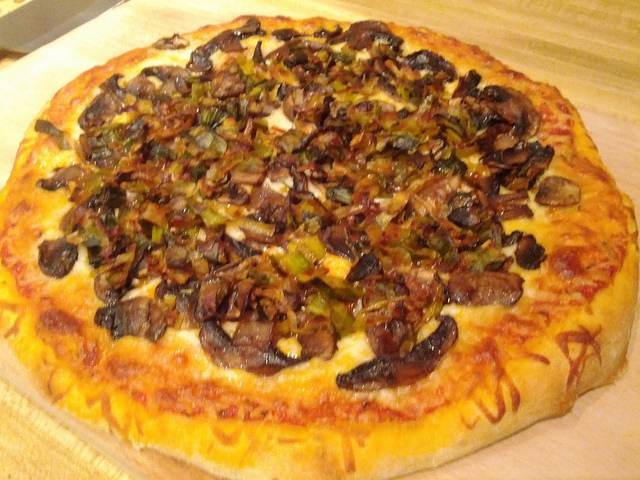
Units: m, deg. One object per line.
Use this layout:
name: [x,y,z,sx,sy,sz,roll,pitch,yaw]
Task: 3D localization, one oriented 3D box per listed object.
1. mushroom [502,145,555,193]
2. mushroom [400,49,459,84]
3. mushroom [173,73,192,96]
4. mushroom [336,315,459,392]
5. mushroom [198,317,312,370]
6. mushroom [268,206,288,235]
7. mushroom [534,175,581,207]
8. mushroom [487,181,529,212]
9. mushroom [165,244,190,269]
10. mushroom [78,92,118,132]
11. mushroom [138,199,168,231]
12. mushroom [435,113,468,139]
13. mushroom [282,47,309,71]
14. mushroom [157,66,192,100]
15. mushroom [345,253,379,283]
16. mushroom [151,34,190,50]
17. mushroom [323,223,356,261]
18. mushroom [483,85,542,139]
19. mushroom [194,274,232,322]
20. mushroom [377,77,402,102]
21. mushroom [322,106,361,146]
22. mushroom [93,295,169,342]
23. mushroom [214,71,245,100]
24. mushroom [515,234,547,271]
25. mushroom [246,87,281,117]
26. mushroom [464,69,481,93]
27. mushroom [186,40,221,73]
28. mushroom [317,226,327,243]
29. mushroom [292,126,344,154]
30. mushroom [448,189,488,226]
mushroom: [0.967,-0.342,3.002,0.232,0.063,0.157,-46,48,-7]
mushroom: [0.575,-0.901,3.454,0.273,0.071,0.165,41,66,16]
mushroom: [-0.707,-0.793,3.358,0.083,0.030,0.126,-28,67,-19]
mushroom: [0.315,0.446,2.579,0.435,0.098,0.230,-31,40,-11]
mushroom: [-0.298,0.419,2.673,0.307,0.217,0.074,25,77,-6]
mushroom: [-0.185,-0.087,2.871,0.075,0.028,0.116,30,79,22]
mushroom: [1.078,-0.223,2.936,0.161,0.039,0.140,10,54,18]
mushroom: [0.837,-0.199,2.890,0.139,0.039,0.127,-9,57,4]
mushroom: [-0.607,0.072,2.828,0.111,0.031,0.099,23,76,17]
mushroom: [-1.108,-0.662,3.332,0.156,0.046,0.222,32,72,18]
mushroom: [-0.738,-0.104,2.872,0.139,0.037,0.126,25,87,21]
mushroom: [0.623,-0.542,3.085,0.131,0.049,0.138,49,37,14]
mushroom: [-0.122,-0.954,3.413,0.122,0.038,0.108,2,61,9]
mushroom: [-0.764,-0.842,3.417,0.055,0.195,0.193,38,93,-2]
mushroom: [0.177,0.115,2.751,0.090,0.034,0.141,36,76,18]
mushroom: [-0.828,-1.089,3.600,0.128,0.034,0.122,12,27,23]
mushroom: [0.078,0.007,2.791,0.147,0.038,0.141,26,56,13]
mushroom: [0.938,-0.624,3.209,0.207,0.076,0.295,-22,51,-16]
mushroom: [-0.441,0.243,2.729,0.216,0.070,0.289,-3,34,-5]
mushroom: [0.352,-0.759,3.282,0.143,0.033,0.088,44,86,0]
mushroom: [0.116,-0.554,3.127,0.188,0.047,0.165,13,53,-5]
mushroom: [-0.814,0.334,2.749,0.301,0.075,0.179,7,80,-31]
mushroom: [-0.461,-0.775,3.274,0.148,0.040,0.134,21,67,4]
mushroom: [0.910,0.054,2.823,0.125,0.035,0.138,0,67,9]
mushroom: [-0.288,-0.674,3.204,0.137,0.036,0.126,-23,74,-13]
mushroom: [0.776,-0.816,3.314,0.077,0.036,0.120,21,55,10]
mushroom: [-0.625,-0.999,3.580,0.190,0.285,0.061,-15,94,-8]
mushroom: [0.006,-0.028,2.809,0.044,0.013,0.051,8,50,16]
mushroom: [0.000,-0.467,3.059,0.141,0.042,0.194,34,45,30]
mushroom: [0.658,-0.130,2.905,0.127,0.044,0.178,20,59,3]
